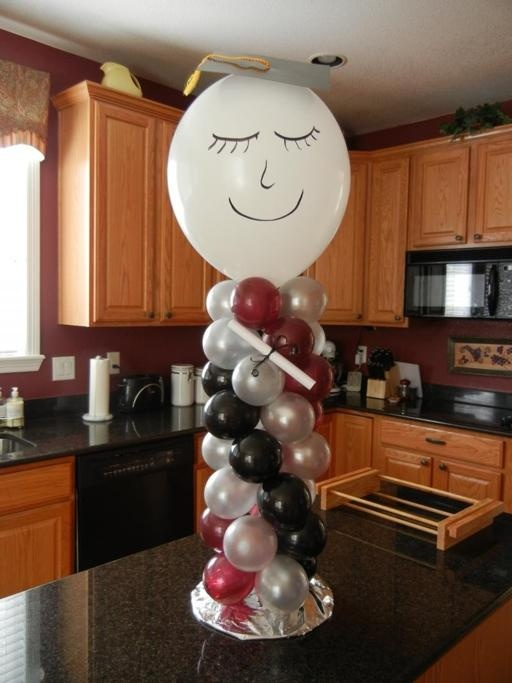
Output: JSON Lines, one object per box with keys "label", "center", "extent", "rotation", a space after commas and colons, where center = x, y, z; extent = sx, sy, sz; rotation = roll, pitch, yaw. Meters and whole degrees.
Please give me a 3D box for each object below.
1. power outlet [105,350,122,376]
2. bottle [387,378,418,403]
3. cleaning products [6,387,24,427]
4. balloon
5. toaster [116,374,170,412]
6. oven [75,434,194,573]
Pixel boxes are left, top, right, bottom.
{"label": "power outlet", "center": [-0.725, 0.102, 2.820], "extent": [0.020, 0.177, 0.137], "rotation": [0, 2, 26]}
{"label": "bottle", "center": [0.887, 0.292, 3.419], "extent": [0.161, 0.133, 0.158], "rotation": [-1, -2, 17]}
{"label": "cleaning products", "center": [-1.051, 0.285, 2.423], "extent": [0.071, 0.170, 0.144], "rotation": [-3, 5, -22]}
{"label": "balloon", "center": [0.023, -0.012, 1.004], "extent": [0.335, 0.976, 0.267], "rotation": [-2, 4, -8]}
{"label": "toaster", "center": [-0.549, 0.261, 2.792], "extent": [0.233, 0.161, 0.153], "rotation": [1, 0, -44]}
{"label": "oven", "center": [-0.485, 0.713, 2.442], "extent": [0.481, 0.601, 0.435], "rotation": [-8, 0, -1]}
